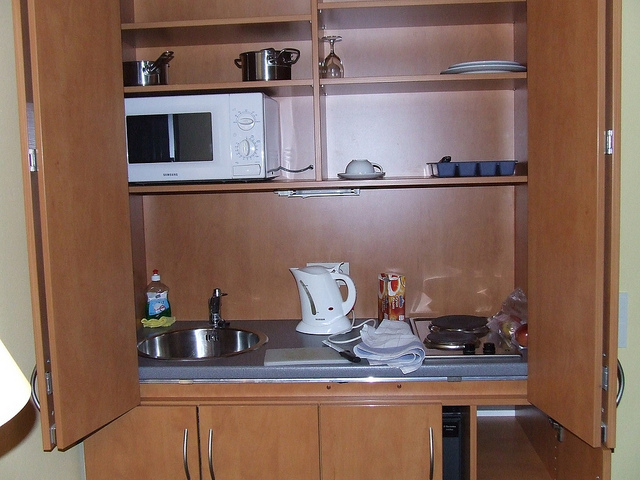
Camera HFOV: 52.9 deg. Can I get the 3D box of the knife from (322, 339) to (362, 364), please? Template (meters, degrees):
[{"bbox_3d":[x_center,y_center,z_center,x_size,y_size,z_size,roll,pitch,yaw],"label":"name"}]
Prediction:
[{"bbox_3d":[0.080,0.406,2.410,0.041,0.021,0.222,-6,8,-24],"label":"knife"}]

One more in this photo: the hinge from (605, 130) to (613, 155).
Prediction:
[{"bbox_3d":[0.838,-0.280,1.867,0.021,0.070,0.011,-1,10,17],"label":"hinge"}]

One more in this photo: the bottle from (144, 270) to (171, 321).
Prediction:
[{"bbox_3d":[-0.731,0.270,2.897,0.120,0.167,0.105,-9,11,-25],"label":"bottle"}]

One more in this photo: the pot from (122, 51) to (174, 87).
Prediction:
[{"bbox_3d":[-0.700,-0.668,2.635,0.224,0.175,0.268,1,14,-6],"label":"pot"}]

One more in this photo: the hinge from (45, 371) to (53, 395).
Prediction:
[{"bbox_3d":[-0.818,0.428,1.937,0.019,0.073,0.012,-10,11,-31],"label":"hinge"}]

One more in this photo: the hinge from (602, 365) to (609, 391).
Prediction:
[{"bbox_3d":[0.844,0.405,1.898,0.009,0.075,0.018,-10,11,-33],"label":"hinge"}]

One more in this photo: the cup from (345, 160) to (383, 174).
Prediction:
[{"bbox_3d":[0.183,-0.293,2.622,0.100,0.053,0.087,1,8,2],"label":"cup"}]

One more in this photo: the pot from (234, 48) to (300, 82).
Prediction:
[{"bbox_3d":[-0.226,-0.726,2.657,0.323,0.149,0.206,16,23,38],"label":"pot"}]

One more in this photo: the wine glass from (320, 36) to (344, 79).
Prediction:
[{"bbox_3d":[0.043,-0.751,2.671,0.096,0.179,0.208,-4,11,2],"label":"wine glass"}]
